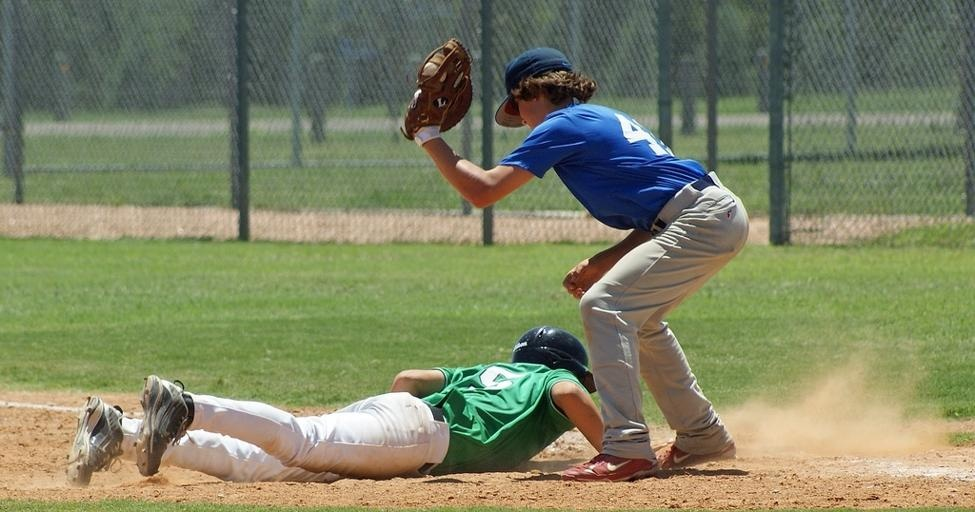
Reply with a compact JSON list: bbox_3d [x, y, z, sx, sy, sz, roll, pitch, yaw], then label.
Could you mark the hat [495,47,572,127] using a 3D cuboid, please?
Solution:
[{"bbox_3d":[0.417,-1.699,18.892,0.850,0.435,0.639,-35,-27,26],"label":"hat"}]
